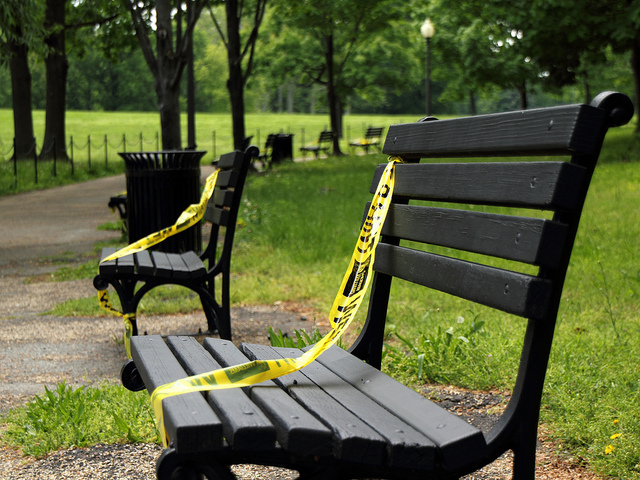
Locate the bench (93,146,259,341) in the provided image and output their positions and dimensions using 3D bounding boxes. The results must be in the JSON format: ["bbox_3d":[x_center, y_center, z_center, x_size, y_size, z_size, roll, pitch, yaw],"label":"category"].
[{"bbox_3d":[-1.132,0.066,5.830,1.158,1.558,1.297,-1,5,-21],"label":"bench"}]
